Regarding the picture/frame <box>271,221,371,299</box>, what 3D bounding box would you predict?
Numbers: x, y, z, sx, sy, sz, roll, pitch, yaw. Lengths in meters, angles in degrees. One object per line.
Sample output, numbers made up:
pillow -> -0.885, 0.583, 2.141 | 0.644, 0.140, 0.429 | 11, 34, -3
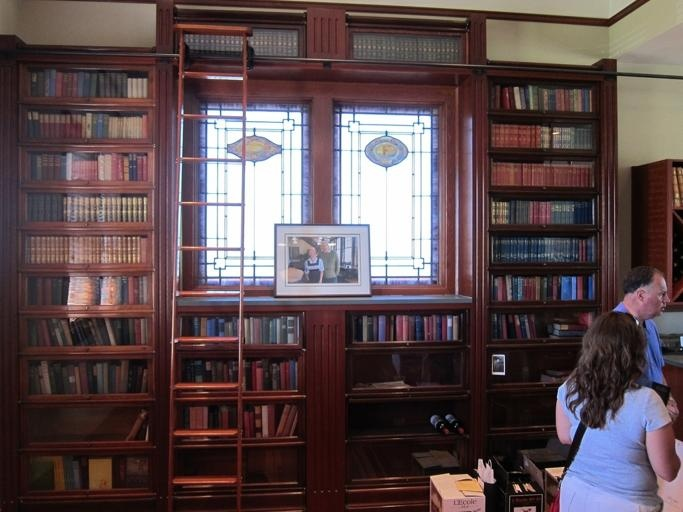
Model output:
picture/frame -> -0.164, 0.053, 5.851 | 0.613, 0.450, 0.024 | 0, -12, -5

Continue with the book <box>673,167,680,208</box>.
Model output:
book -> 2.786, -0.570, 6.034 | 0.059, 0.340, 0.074 | -2, 0, 31

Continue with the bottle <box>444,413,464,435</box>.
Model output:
bottle -> 0.898, 1.348, 5.767 | 0.076, 0.075, 0.251 | 18, 9, -6

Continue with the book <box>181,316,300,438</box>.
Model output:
book -> -0.813, 0.942, 5.605 | 0.948, 0.876, 0.313 | 1, -6, -4

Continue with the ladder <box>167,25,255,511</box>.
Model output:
ladder -> -1.006, 0.105, 5.601 | 0.749, 3.683, 0.754 | -2, 0, -8
